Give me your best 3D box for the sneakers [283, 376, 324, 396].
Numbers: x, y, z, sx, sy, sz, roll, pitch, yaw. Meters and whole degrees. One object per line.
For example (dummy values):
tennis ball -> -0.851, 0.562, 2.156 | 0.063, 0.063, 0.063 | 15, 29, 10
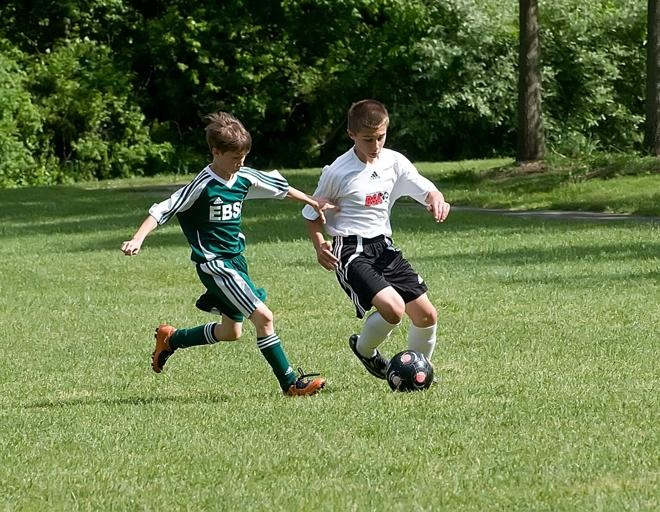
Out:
sneakers -> -0.177, 1.019, 7.185 | 0.344, 0.162, 0.126 | -16, -9, 11

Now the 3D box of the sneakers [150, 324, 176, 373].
sneakers -> -1.423, 0.778, 7.903 | 0.219, 0.460, 0.157 | 13, 10, 17

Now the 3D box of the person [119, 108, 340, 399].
person -> -0.732, -0.043, 7.303 | 1.458, 2.200, 0.972 | -4, 11, -7
